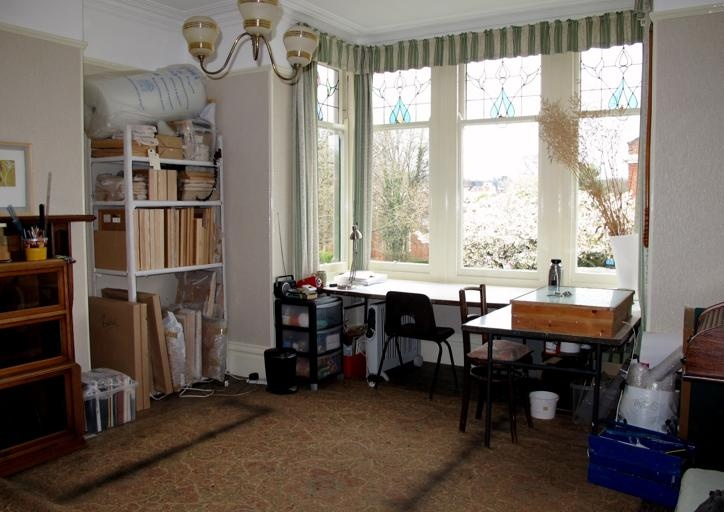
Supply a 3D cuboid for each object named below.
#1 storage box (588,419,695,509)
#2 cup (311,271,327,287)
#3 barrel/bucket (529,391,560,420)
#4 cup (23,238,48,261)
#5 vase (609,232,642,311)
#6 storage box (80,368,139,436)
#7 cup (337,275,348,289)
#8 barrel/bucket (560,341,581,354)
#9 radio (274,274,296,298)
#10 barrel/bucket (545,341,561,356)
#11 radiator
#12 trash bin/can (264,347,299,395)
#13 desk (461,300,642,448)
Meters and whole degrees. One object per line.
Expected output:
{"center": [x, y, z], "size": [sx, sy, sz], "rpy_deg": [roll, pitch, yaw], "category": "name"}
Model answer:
{"center": [1.850, 1.405, 3.642], "size": [0.583, 0.352, 0.437], "rpy_deg": [6, 12, 40], "category": "storage box"}
{"center": [-0.445, 0.219, 5.586], "size": [0.141, 0.263, 0.146], "rpy_deg": [1, 4, 0], "category": "cup"}
{"center": [1.570, 1.289, 4.694], "size": [0.209, 0.171, 0.239], "rpy_deg": [-3, -5, 6], "category": "barrel/bucket"}
{"center": [-2.430, -0.043, 4.040], "size": [0.135, 0.164, 0.160], "rpy_deg": [-2, 0, 39], "category": "cup"}
{"center": [2.378, 0.062, 4.895], "size": [0.299, 0.541, 0.165], "rpy_deg": [11, 17, 39], "category": "vase"}
{"center": [-2.144, 1.201, 4.556], "size": [0.447, 0.344, 0.388], "rpy_deg": [2, 4, 39], "category": "storage box"}
{"center": [-0.208, 0.272, 5.720], "size": [0.103, 0.115, 0.106], "rpy_deg": [3, -9, 0], "category": "cup"}
{"center": [1.801, 0.790, 4.697], "size": [0.163, 0.125, 0.168], "rpy_deg": [-1, 0, 0], "category": "barrel/bucket"}
{"center": [-0.782, 0.299, 5.477], "size": [0.226, 0.174, 0.337], "rpy_deg": [-2, 13, -7], "category": "radio"}
{"center": [1.739, 0.831, 4.949], "size": [0.131, 0.131, 0.093], "rpy_deg": [2, -6, 37], "category": "barrel/bucket"}
{"center": [0.299, 0.848, 5.422], "size": [0.334, 0.727, 0.803], "rpy_deg": [2, 2, 34], "category": "radiator"}
{"center": [-0.745, 1.085, 5.311], "size": [0.357, 0.403, 0.356], "rpy_deg": [1, 4, 28], "category": "trash bin/can"}
{"center": [1.450, 0.861, 4.321], "size": [1.293, 1.219, 0.871], "rpy_deg": [3, 13, 15], "category": "desk"}
